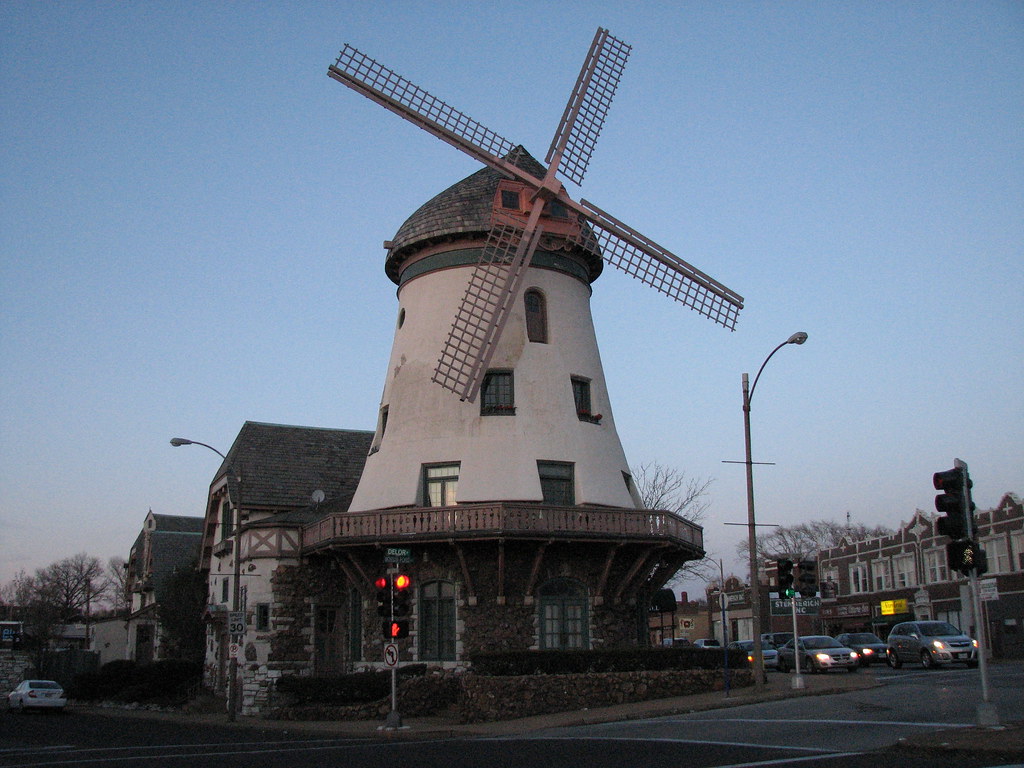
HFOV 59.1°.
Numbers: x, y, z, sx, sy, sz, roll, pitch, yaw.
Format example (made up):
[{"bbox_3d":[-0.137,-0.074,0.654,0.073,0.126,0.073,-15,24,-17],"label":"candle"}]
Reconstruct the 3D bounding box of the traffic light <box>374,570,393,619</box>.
[{"bbox_3d":[-3.677,6.133,26.018,0.425,1.240,1.089,0,-16,-9],"label":"traffic light"}]

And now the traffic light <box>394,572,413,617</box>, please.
[{"bbox_3d":[-3.168,6.086,26.034,0.408,1.257,1.192,-3,-16,2],"label":"traffic light"}]

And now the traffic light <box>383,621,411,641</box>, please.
[{"bbox_3d":[-3.344,6.949,25.589,0.697,0.434,0.260,-4,-16,6],"label":"traffic light"}]

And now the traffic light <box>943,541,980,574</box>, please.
[{"bbox_3d":[8.811,3.356,17.576,0.607,0.637,0.666,-10,-18,25],"label":"traffic light"}]

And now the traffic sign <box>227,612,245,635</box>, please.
[{"bbox_3d":[-9.934,8.620,32.565,0.520,0.742,0.477,5,-17,-22],"label":"traffic sign"}]
